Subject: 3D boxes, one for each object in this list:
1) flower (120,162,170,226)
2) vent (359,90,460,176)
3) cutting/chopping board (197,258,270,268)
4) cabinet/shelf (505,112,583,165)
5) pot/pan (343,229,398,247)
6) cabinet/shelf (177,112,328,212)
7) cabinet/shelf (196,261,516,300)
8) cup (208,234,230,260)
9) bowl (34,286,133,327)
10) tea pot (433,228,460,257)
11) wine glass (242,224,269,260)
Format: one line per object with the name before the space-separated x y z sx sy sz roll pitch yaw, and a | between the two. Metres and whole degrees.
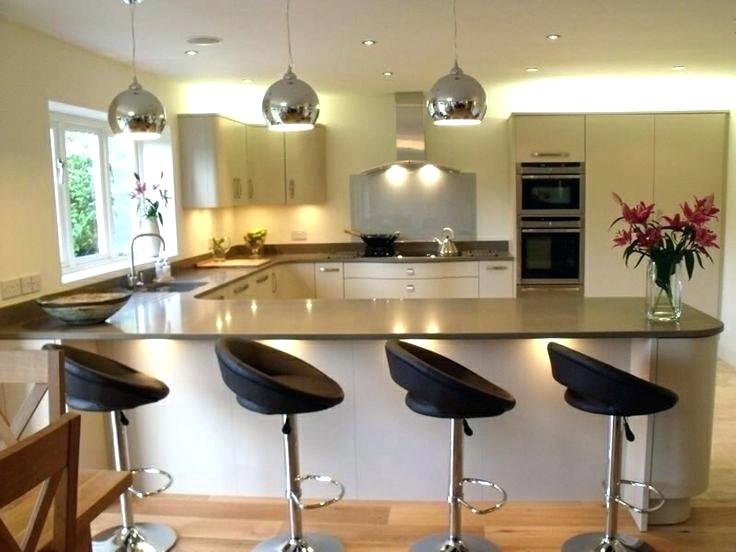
flower | -1.930 -0.726 5.726 0.394 0.601 0.423 0 -2 -3
vent | 0.457 -1.576 6.969 0.952 0.840 0.836 4 17 21
cutting/chopping board | -1.345 -0.132 6.343 0.694 0.056 0.507 -1 7 12
cabinet/shelf | 1.786 -1.389 6.419 0.753 0.520 0.441 0 4 4
pot/pan | 0.052 -0.399 6.923 0.408 0.129 0.263 2 2 20
cabinet/shelf | -1.156 -1.162 6.579 0.461 0.883 1.622 3 9 37
cabinet/shelf | 0.286 0.025 6.661 2.437 0.417 0.148 -2 7 6
cup | -1.516 -0.302 6.748 0.230 0.325 0.234 0 5 0
bowl | -1.811 0.187 4.089 0.496 0.151 0.777 -6 8 -27
tea pot | 0.843 -0.374 7.006 0.235 0.332 0.315 -2 2 -29
wine glass | -1.167 -0.389 7.020 0.311 0.371 0.306 -1 3 22
